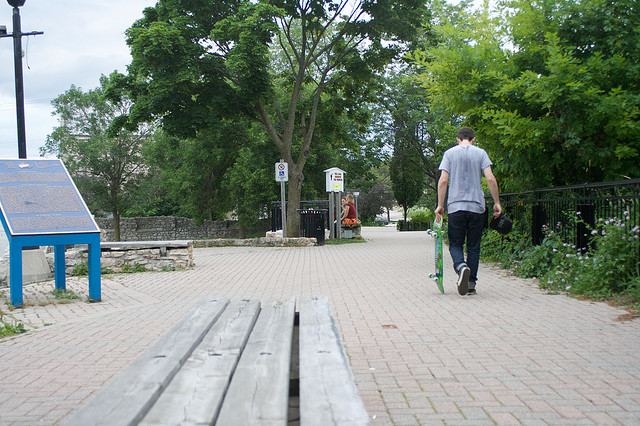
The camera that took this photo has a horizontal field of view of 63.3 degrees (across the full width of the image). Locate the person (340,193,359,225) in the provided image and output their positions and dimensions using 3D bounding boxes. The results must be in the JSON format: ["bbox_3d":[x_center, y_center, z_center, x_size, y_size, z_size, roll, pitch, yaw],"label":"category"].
[{"bbox_3d":[1.300,-0.168,24.122,0.739,1.411,1.602,-2,2,7],"label":"person"}]

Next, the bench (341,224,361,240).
[{"bbox_3d":[1.407,0.877,24.404,0.673,0.601,0.924,0,1,7],"label":"bench"}]

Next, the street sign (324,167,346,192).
[{"bbox_3d":[0.658,-1.452,22.777,0.668,0.987,0.436,-2,3,-14],"label":"street sign"}]

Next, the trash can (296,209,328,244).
[{"bbox_3d":[-0.312,0.507,21.292,1.285,1.444,1.267,0,-4,-4],"label":"trash can"}]

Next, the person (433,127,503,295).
[{"bbox_3d":[2.467,0.107,8.866,0.868,2.564,1.298,0,3,42],"label":"person"}]

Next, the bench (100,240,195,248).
[{"bbox_3d":[-4.362,0.810,13.180,2.073,0.226,0.552,-2,2,-18],"label":"bench"}]

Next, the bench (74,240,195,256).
[{"bbox_3d":[-4.432,0.876,13.258,2.109,0.419,1.186,-2,2,-8],"label":"bench"}]

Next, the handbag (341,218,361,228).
[{"bbox_3d":[1.422,0.417,24.290,0.266,0.402,0.883,0,3,43],"label":"handbag"}]
